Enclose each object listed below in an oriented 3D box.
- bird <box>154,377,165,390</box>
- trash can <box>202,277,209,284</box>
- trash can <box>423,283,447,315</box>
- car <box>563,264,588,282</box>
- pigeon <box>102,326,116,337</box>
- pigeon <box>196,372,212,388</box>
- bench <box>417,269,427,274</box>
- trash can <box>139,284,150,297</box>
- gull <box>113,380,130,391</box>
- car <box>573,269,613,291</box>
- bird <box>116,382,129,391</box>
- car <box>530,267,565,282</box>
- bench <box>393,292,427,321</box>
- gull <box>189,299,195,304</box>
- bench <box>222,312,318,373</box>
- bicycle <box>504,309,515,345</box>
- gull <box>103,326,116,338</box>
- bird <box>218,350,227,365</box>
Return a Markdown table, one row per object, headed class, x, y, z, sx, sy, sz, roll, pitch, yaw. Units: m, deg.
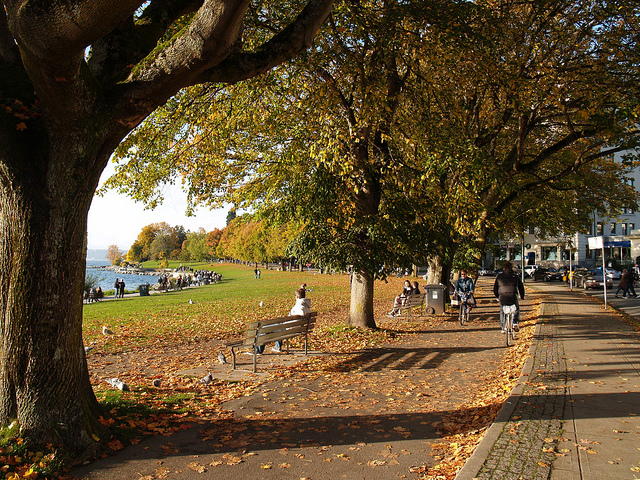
| class | x | y | z | sx | sy | sz | roll | pitch | yaw |
| --- | --- | --- | --- | --- | --- | --- | --- | --- | --- |
| bird | -3.361 | 2.974 | 12.267 | 0.202 | 0.242 | 0.070 | 23 | -30 | -22 |
| trash can | -12.760 | 4.573 | 65.655 | 0.690 | 0.643 | 1.274 | 0 | -4 | -12 |
| trash can | 4.709 | 2.435 | 24.311 | 1.094 | 1.448 | 0.984 | -2 | -3 | 16 |
| car | 21.511 | 2.859 | 50.315 | 1.692 | 1.380 | 2.899 | 2 | 8 | 35 |
| pigeon | -7.067 | 3.079 | 19.789 | 0.397 | 0.259 | 0.211 | -1 | -5 | -26 |
| pigeon | -2.411 | 2.936 | 12.306 | 0.298 | 0.210 | 0.444 | 0 | -4 | -12 |
| bench | 13.290 | 4.215 | 77.684 | 1.016 | 0.604 | 5.682 | -2 | -4 | 10 |
| trash can | -13.203 | 3.769 | 43.990 | 0.850 | 0.874 | 0.840 | -1 | -10 | -5 |
| gull | -4.002 | 2.931 | 11.899 | 0.433 | 0.181 | 0.186 | -5 | -5 | 40 |
| car | 19.492 | 2.808 | 42.388 | 2.679 | 1.482 | 6.601 | -3 | -5 | 22 |
| bird | -3.942 | 2.938 | 11.828 | 0.206 | 0.144 | 0.268 | 2 | -5 | -35 |
| car | 23.212 | 3.493 | 60.572 | 1.508 | 1.444 | 5.763 | -1 | -4 | 3 |
| bench | 3.601 | 2.641 | 23.572 | 1.157 | 0.970 | 3.164 | -2 | -4 | 12 |
| gull | -7.591 | 3.651 | 34.825 | 0.139 | 0.309 | 0.421 | -5 | -20 | 0 |
| bench | -1.240 | 2.428 | 14.402 | 1.157 | 1.205 | 2.856 | -3 | -5 | 28 |
| bicycle | 5.249 | 2.416 | 16.497 | 0.249 | 0.957 | 0.739 | -2 | -4 | 17 |
| gull | -7.082 | 3.064 | 19.785 | 0.372 | 0.250 | 0.198 | -11 | -17 | -35 |
| bird | -2.408 | 2.817 | 14.237 | 0.168 | 0.295 | 0.289 | -3 | 13 | -22 |
